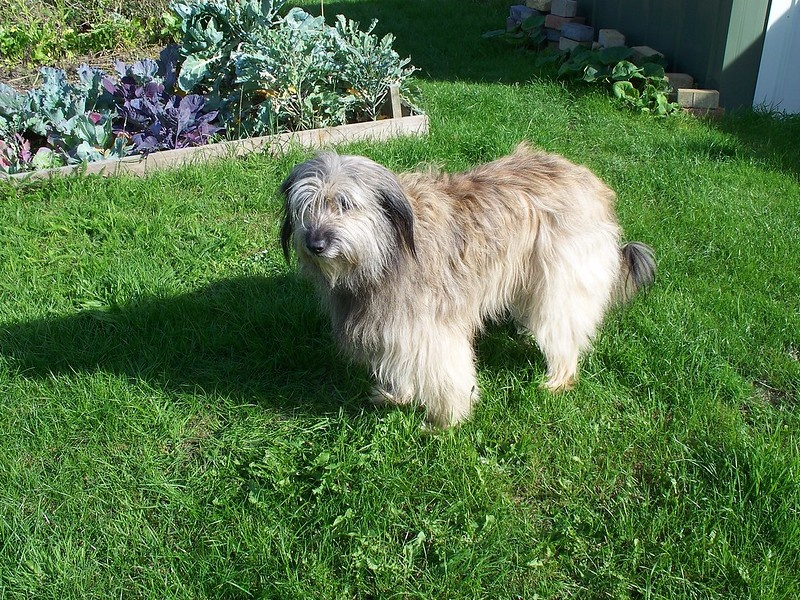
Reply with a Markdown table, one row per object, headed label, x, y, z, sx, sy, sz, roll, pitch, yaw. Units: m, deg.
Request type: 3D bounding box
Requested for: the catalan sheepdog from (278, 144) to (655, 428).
| label | x | y | z | sx | sy | sz | roll | pitch | yaw |
| --- | --- | --- | --- | --- | --- | --- | --- | --- | --- |
| catalan sheepdog | 0.400 | -0.099 | 4.389 | 2.174 | 1.600 | 0.670 | -6 | 21 | -19 |
